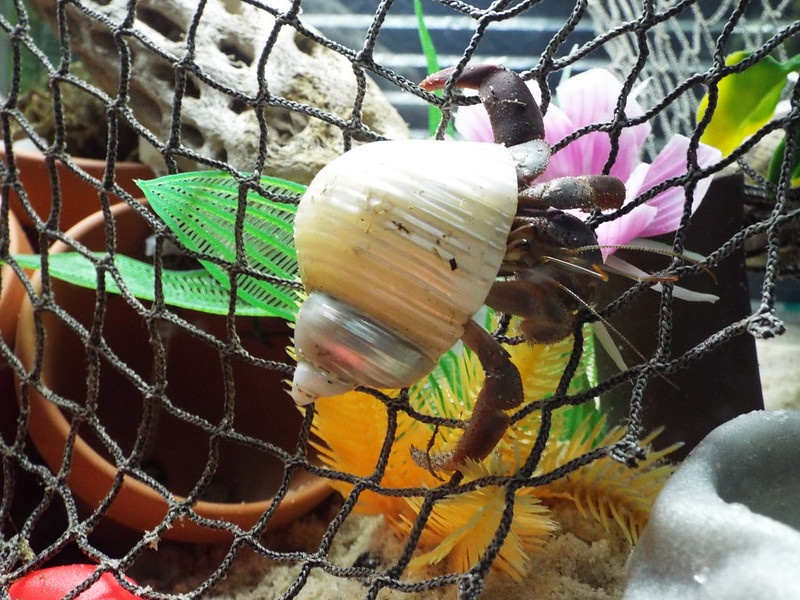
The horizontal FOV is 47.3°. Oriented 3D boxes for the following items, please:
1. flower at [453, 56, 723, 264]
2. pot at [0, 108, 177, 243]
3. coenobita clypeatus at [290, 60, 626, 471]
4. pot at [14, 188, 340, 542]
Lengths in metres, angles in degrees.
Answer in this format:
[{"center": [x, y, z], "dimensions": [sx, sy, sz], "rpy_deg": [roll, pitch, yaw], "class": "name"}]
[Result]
[{"center": [0.163, -0.113, 0.697], "dimensions": [0.150, 0.069, 0.169], "rpy_deg": [-12, 63, 3], "class": "flower"}, {"center": [-0.344, -0.159, 0.980], "dimensions": [0.142, 0.069, 0.146], "rpy_deg": [6, 20, -2], "class": "pot"}, {"center": [0.033, -0.015, 0.641], "dimensions": [0.207, 0.280, 0.138], "rpy_deg": [16, 25, 12], "class": "coenobita clypeatus"}, {"center": [-0.232, 0.133, 0.901], "dimensions": [0.304, 0.186, 0.310], "rpy_deg": [32, 35, -25], "class": "pot"}]
